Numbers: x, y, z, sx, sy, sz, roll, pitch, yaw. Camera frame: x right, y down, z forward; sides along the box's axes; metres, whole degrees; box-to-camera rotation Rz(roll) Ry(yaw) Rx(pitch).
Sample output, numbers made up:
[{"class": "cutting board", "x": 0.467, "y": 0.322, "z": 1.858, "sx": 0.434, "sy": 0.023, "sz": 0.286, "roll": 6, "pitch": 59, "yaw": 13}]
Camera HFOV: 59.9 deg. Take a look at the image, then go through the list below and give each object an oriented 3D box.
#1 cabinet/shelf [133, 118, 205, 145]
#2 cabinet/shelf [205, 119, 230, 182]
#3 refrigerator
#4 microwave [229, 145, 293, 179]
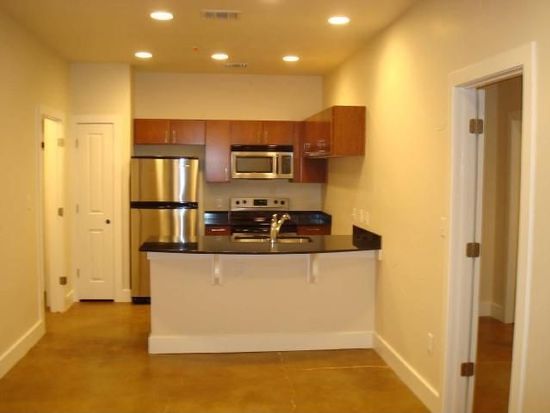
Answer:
[{"class": "cabinet/shelf", "x": -1.366, "y": -1.030, "z": 6.639, "sx": 1.151, "sy": 0.344, "sz": 0.334, "roll": 4, "pitch": 7, "yaw": 22}, {"class": "cabinet/shelf", "x": -0.793, "y": -0.766, "z": 6.600, "sx": 0.348, "sy": 0.827, "sz": 0.090, "roll": 0, "pitch": 10, "yaw": -6}, {"class": "refrigerator", "x": -1.435, "y": 0.256, "z": 6.169, "sx": 0.880, "sy": 1.766, "sz": 0.300, "roll": -2, "pitch": 10, "yaw": -15}, {"class": "microwave", "x": -0.063, "y": -0.620, "z": 6.928, "sx": 1.055, "sy": 0.472, "sz": 0.590, "roll": 4, "pitch": 7, "yaw": 31}]
